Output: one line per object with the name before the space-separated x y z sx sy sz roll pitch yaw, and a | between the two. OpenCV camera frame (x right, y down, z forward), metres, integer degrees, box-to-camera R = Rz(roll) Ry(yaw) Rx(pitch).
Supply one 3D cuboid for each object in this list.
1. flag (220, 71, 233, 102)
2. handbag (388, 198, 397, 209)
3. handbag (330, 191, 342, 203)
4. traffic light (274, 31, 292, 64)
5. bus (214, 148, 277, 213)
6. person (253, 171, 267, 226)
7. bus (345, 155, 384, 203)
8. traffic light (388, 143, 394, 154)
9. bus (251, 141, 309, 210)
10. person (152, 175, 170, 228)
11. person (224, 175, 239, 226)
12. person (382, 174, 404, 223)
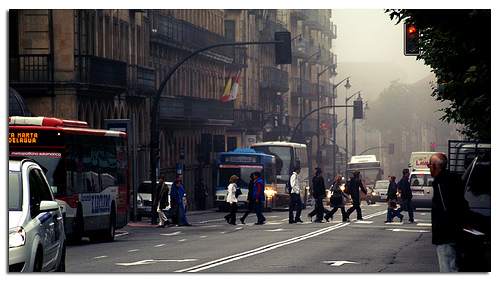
flag | -2.110 -4.784 65.896 0.996 2.358 2.500 -1 -3 -3
handbag | 7.427 3.181 38.140 0.306 0.539 0.711 -3 -4 33
handbag | 4.536 2.875 38.554 0.724 0.618 0.408 -1 -3 -13
traffic light | 1.633 -4.641 36.494 0.765 1.599 1.378 -1 -3 2
bus | -0.361 2.674 51.324 4.315 4.469 3.630 -1 -3 0
person | 0.490 2.879 37.680 0.791 2.668 0.910 0 0 10
bus | 12.822 4.733 81.908 3.712 5.289 12.035 -5 -12 8
traffic light | 18.851 0.924 98.228 0.603 1.344 1.956 -2 -3 15
bus | 2.547 1.990 56.992 2.759 3.230 7.187 0 -7 12
person | -4.604 3.097 38.171 0.806 2.575 0.887 0 0 -12
person | -0.949 3.046 38.481 1.190 2.659 0.815 -1 -3 19
person | 7.291 2.895 38.565 1.084 2.877 1.040 0 0 37
